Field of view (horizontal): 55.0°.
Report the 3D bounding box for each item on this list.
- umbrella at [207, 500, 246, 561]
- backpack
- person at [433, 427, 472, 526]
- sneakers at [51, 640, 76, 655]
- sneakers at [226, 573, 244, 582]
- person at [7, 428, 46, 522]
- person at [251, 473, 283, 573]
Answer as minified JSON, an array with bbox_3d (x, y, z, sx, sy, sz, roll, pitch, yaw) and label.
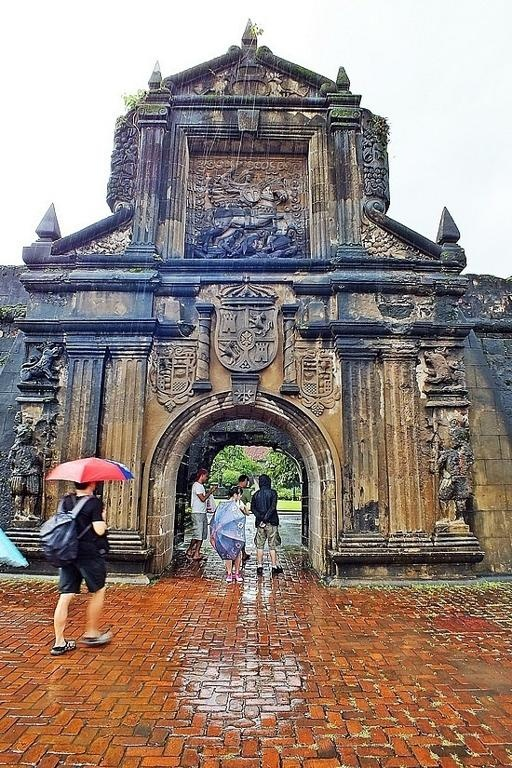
[{"bbox_3d":[-0.396,2.041,6.842,0.458,0.831,0.420,2,-9,-4],"label":"umbrella"},{"bbox_3d":[-1.642,1.287,4.329,0.578,0.516,0.384,-8,-2,-44],"label":"backpack"},{"bbox_3d":[2.833,1.256,7.014,0.522,1.433,0.192,4,-10,-14],"label":"person"},{"bbox_3d":[-1.641,2.237,4.194,0.086,0.091,0.211,-3,-8,20],"label":"sneakers"},{"bbox_3d":[-0.309,2.708,6.843,0.174,0.077,0.225,2,-20,-4],"label":"sneakers"},{"bbox_3d":[-3.331,1.270,7.055,0.497,1.415,0.230,0,-9,6],"label":"person"},{"bbox_3d":[0.171,2.155,7.598,0.473,1.491,1.146,1,-9,3],"label":"person"}]
